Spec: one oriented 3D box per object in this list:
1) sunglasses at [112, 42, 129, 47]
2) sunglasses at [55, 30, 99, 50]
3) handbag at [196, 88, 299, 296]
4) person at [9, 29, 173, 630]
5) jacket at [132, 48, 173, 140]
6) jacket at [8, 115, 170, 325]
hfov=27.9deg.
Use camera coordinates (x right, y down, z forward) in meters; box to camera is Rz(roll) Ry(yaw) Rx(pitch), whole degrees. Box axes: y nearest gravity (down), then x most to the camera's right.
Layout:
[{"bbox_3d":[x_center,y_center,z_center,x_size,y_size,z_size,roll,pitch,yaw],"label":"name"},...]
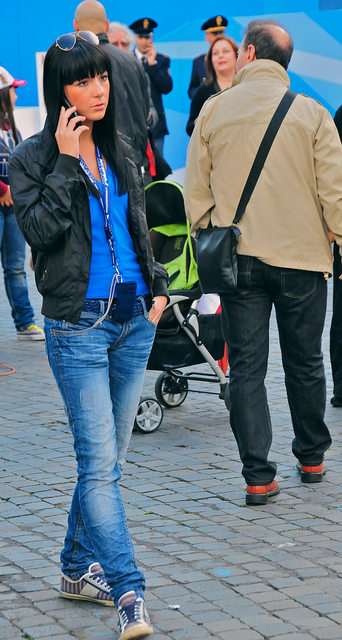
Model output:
[{"bbox_3d":[-0.591,-3.194,7.933,0.092,0.023,0.097,1,1,11],"label":"sunglasses"},{"bbox_3d":[-0.272,-0.828,2.025,0.115,0.038,0.203,-6,25,9],"label":"sunglasses"},{"bbox_3d":[0.316,-0.550,3.409,0.255,0.728,0.401,8,5,33],"label":"handbag"},{"bbox_3d":[-0.225,-0.025,2.045,0.371,1.507,0.955,-7,25,7],"label":"person"},{"bbox_3d":[-0.169,-3.582,10.789,0.587,1.473,0.610,9,29,21],"label":"jacket"},{"bbox_3d":[-0.277,-0.296,2.104,0.309,0.646,0.511,7,30,32],"label":"jacket"}]
